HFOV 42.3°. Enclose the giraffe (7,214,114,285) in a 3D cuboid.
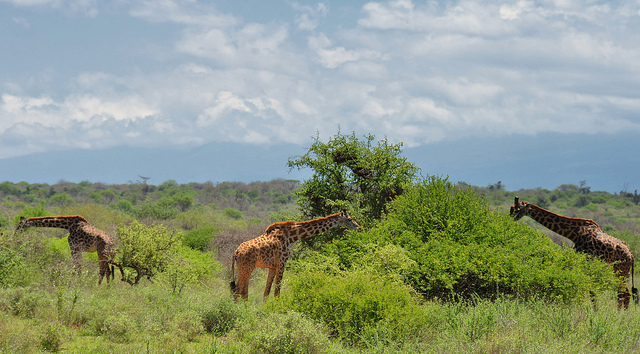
[{"bbox_3d":[-24.565,6.959,78.952,9.574,6.644,5.091,1,-10,-8],"label":"giraffe"}]
